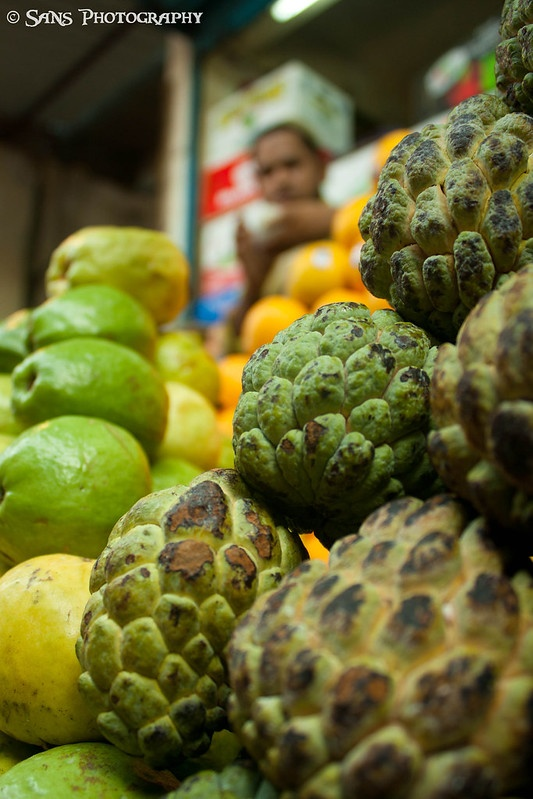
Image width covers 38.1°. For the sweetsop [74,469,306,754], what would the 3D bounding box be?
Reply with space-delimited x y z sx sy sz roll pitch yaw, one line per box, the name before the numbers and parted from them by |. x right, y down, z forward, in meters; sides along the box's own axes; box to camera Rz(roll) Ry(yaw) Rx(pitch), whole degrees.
sweetsop | -0.106 0.184 0.784 0.130 0.260 0.193 10 -39 28
